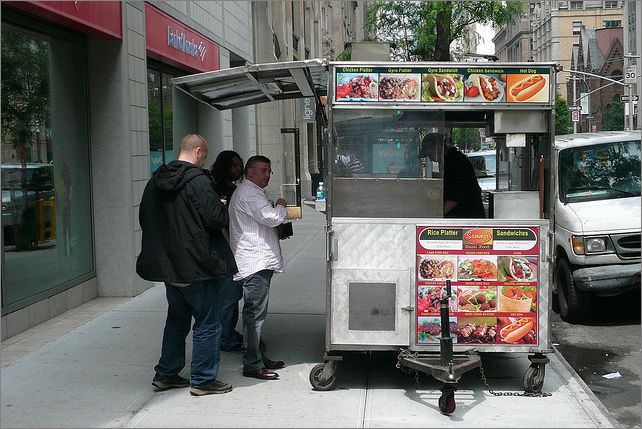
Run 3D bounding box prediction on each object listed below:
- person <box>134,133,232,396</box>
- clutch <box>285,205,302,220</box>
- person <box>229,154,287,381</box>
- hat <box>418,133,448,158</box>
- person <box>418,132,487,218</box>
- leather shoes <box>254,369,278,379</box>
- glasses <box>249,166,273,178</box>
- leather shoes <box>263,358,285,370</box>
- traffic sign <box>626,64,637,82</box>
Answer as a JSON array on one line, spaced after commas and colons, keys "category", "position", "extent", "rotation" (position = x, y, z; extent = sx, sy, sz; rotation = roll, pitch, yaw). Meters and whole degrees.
[{"category": "person", "position": [-1.515, 0.637, 7.294], "extent": [1.061, 2.824, 0.491], "rotation": [2, 9, 6]}, {"category": "clutch", "position": [-0.960, -0.078, 22.402], "extent": [0.617, 0.432, 0.629], "rotation": [1, 8, 5]}, {"category": "person", "position": [-0.772, 0.641, 7.720], "extent": [0.635, 2.628, 0.657], "rotation": [-2, 10, -15]}, {"category": "hat", "position": [1.282, -0.795, 7.364], "extent": [0.214, 0.171, 0.302], "rotation": [-12, 3, -31]}, {"category": "person", "position": [1.861, -0.546, 8.667], "extent": [0.538, 0.448, 1.185], "rotation": [-7, -34, 5]}, {"category": "leather shoes", "position": [-0.650, 1.922, 7.701], "extent": [0.240, 0.095, 0.126], "rotation": [-1, -1, 20]}, {"category": "glasses", "position": [-0.779, -0.517, 7.798], "extent": [0.154, 0.113, 0.190], "rotation": [4, -14, -35]}, {"category": "leather shoes", "position": [-0.598, 1.874, 8.031], "extent": [0.293, 0.129, 0.104], "rotation": [-3, 0, -1]}, {"category": "traffic sign", "position": [23.202, -10.481, 47.804], "extent": [0.710, 1.237, 2.537], "rotation": [5, 11, 24]}]
